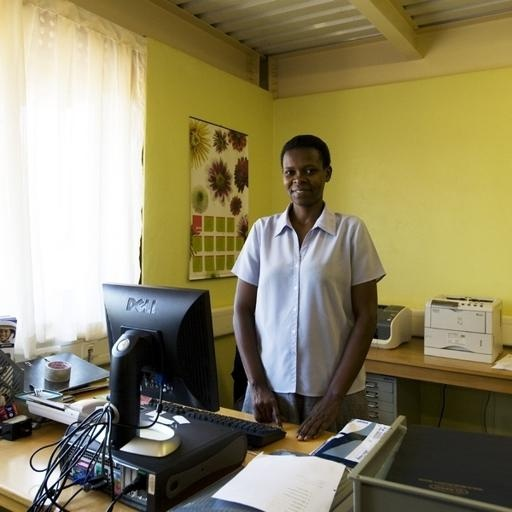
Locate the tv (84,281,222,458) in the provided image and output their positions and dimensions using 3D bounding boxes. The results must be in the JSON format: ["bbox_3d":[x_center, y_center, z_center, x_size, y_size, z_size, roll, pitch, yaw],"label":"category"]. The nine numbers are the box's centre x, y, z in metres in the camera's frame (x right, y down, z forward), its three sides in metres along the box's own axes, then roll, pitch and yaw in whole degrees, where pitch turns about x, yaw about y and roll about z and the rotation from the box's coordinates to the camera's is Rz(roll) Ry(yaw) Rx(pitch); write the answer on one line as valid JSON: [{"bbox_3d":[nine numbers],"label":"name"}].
[{"bbox_3d":[-0.298,0.270,1.207,0.313,0.395,0.179,6,13,22],"label":"tv"}]

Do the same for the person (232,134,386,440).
[{"bbox_3d":[0.199,0.153,1.739,0.380,1.255,0.499,0,1,28],"label":"person"}]
